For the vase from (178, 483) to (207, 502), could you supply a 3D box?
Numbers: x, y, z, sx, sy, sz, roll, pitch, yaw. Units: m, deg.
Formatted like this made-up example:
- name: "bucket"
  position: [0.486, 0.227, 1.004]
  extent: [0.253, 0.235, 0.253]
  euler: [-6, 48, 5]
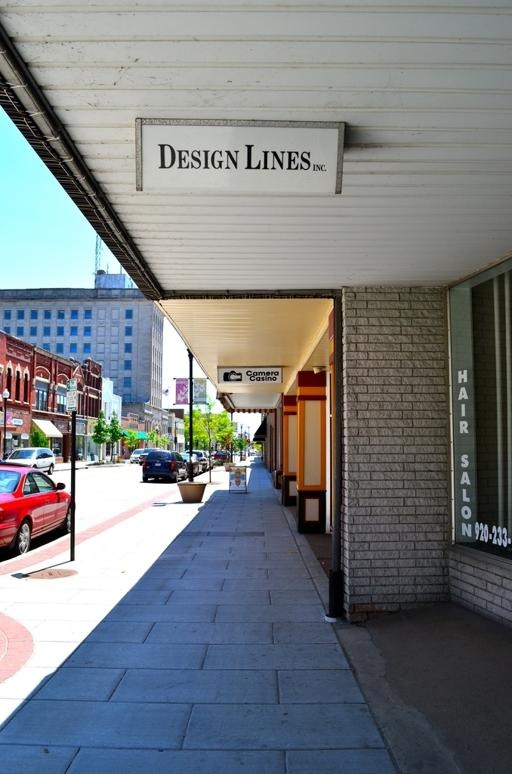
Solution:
- name: "vase"
  position: [-1.780, 2.961, 18.037]
  extent: [0.567, 0.385, 0.597]
  euler: [1, -11, -7]
